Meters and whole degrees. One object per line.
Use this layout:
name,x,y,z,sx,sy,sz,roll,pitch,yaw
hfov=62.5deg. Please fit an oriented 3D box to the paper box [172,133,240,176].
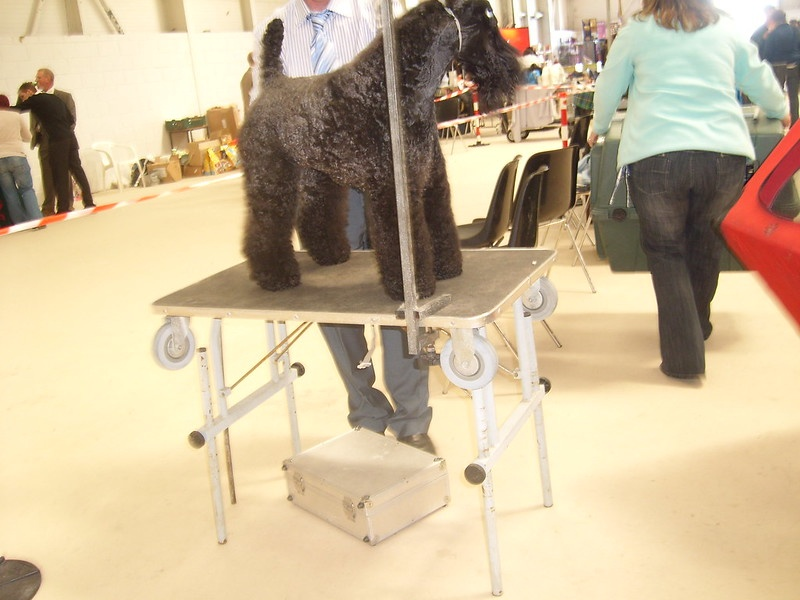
paper box,-3.290,-2.425,11.347,0.850,0.552,0.929,-16,21,-26

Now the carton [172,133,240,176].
carton,-3.218,-2.478,11.475,0.967,0.552,0.819,7,23,33

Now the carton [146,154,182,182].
carton,-3.948,-2.229,11.246,0.479,0.428,0.772,-20,24,-36

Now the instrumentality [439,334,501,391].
instrumentality,0.205,0.202,1.985,0.152,0.223,0.149,-7,19,-5

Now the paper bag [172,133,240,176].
paper bag,-3.286,-2.423,11.341,0.908,0.552,0.953,-13,21,-20

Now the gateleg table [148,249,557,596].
gateleg table,-0.051,0.352,2.665,1.542,1.196,1.131,4,17,23

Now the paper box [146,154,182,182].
paper box,-3.948,-2.234,11.258,0.461,0.428,0.783,-22,25,-39
